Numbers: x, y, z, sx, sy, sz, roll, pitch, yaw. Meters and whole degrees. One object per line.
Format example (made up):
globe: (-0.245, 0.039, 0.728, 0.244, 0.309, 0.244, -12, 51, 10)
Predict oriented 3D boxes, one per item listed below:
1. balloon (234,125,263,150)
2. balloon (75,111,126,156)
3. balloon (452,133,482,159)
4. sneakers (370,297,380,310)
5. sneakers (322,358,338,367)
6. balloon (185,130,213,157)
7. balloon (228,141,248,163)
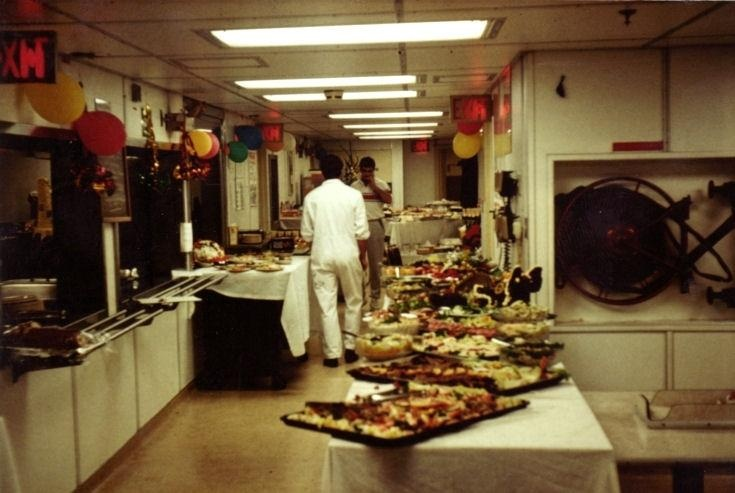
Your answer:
balloon: (-1.572, -1.450, 8.309, 0.372, 0.313, 0.317, -6, 7, -8)
balloon: (-1.879, -0.787, 4.335, 0.327, 0.301, 0.188, -7, 14, -22)
balloon: (1.297, -1.291, 8.058, 0.437, 0.468, 0.425, -2, 3, 9)
sneakers: (0.108, 0.757, 8.305, 0.110, 0.145, 0.158, -2, 2, 2)
sneakers: (-0.400, 1.229, 6.646, 0.137, 0.123, 0.082, 1, 7, 15)
balloon: (-1.630, -0.994, 6.054, 0.202, 0.277, 0.896, -4, 13, -12)
balloon: (-1.700, -1.250, 8.128, 0.258, 0.249, 0.226, -4, 13, -11)
